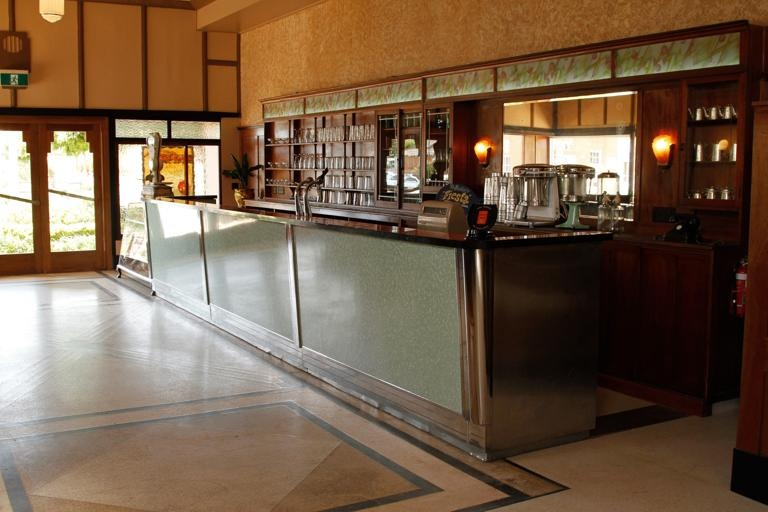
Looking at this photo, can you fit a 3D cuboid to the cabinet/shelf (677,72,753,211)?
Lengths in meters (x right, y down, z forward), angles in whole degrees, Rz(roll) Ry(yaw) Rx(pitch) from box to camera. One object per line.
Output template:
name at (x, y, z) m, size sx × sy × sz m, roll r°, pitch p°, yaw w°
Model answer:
cabinet/shelf at (2.984, -1.001, 4.808) m, size 0.507 × 1.120 × 0.276 m, roll 6°, pitch 10°, yaw 31°

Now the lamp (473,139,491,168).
lamp at (1.369, -1.388, 7.204) m, size 0.315 × 0.448 × 0.312 m, roll -2°, pitch 6°, yaw 3°

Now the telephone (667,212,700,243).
telephone at (2.763, -0.261, 4.884) m, size 0.265 × 0.247 × 0.288 m, roll 8°, pitch 12°, yaw 41°

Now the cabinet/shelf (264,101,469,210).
cabinet/shelf at (-0.548, -1.695, 9.349) m, size 0.444 × 1.633 × 5.131 m, roll -7°, pitch 12°, yaw -42°

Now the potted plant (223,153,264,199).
potted plant at (-3.211, -1.826, 12.005) m, size 0.552 × 0.960 × 1.016 m, roll -7°, pitch 12°, yaw -40°

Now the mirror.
mirror at (2.181, -1.111, 6.069) m, size 0.540 × 1.288 × 1.509 m, roll -9°, pitch 13°, yaw -34°

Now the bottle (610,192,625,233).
bottle at (2.527, -0.469, 5.728) m, size 0.151 × 0.386 × 0.248 m, roll 4°, pitch 10°, yaw 23°

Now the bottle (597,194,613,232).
bottle at (2.434, -0.484, 5.819) m, size 0.158 × 0.380 × 0.350 m, roll 4°, pitch 10°, yaw 22°

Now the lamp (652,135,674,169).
lamp at (2.801, -1.047, 5.325) m, size 0.203 × 0.327 × 0.109 m, roll 9°, pitch 12°, yaw 43°
